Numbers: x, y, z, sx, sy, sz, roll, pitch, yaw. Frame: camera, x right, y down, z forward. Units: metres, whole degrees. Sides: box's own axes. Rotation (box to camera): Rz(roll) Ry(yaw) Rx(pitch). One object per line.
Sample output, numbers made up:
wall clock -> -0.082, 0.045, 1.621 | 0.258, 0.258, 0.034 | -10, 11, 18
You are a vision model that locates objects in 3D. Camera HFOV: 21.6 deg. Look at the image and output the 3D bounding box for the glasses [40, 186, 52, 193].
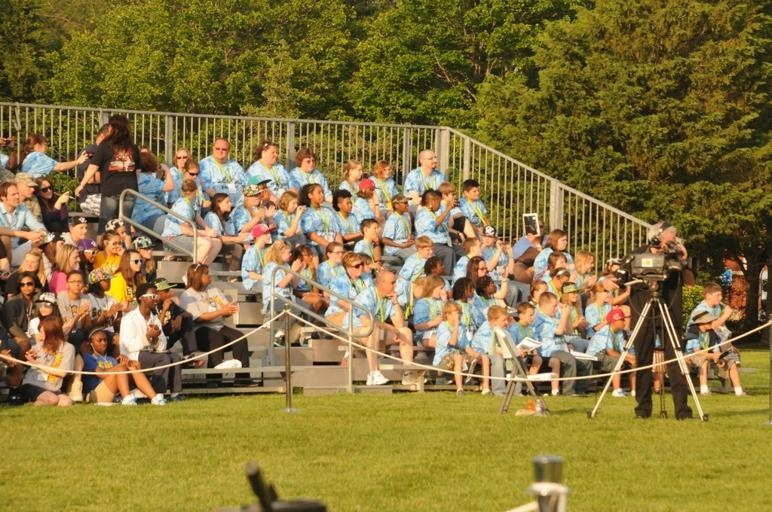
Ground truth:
glasses -> -9.501, -1.884, 57.097 | 0.129, 0.179, 0.418 | -1, -3, 32
